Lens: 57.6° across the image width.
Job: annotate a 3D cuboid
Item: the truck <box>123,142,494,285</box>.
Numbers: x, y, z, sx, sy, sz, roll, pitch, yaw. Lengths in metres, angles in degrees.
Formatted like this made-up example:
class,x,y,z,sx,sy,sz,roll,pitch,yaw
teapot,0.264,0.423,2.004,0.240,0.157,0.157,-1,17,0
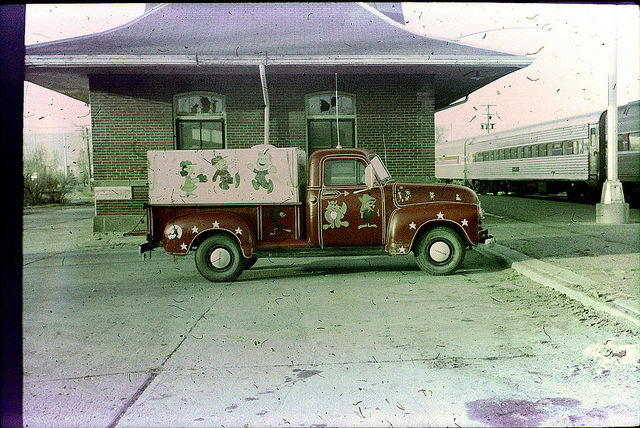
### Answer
class,x,y,z,sx,sy,sz,roll,pitch,yaw
truck,-0.572,0.090,12.177,8.705,3.313,3.145,0,1,-2
